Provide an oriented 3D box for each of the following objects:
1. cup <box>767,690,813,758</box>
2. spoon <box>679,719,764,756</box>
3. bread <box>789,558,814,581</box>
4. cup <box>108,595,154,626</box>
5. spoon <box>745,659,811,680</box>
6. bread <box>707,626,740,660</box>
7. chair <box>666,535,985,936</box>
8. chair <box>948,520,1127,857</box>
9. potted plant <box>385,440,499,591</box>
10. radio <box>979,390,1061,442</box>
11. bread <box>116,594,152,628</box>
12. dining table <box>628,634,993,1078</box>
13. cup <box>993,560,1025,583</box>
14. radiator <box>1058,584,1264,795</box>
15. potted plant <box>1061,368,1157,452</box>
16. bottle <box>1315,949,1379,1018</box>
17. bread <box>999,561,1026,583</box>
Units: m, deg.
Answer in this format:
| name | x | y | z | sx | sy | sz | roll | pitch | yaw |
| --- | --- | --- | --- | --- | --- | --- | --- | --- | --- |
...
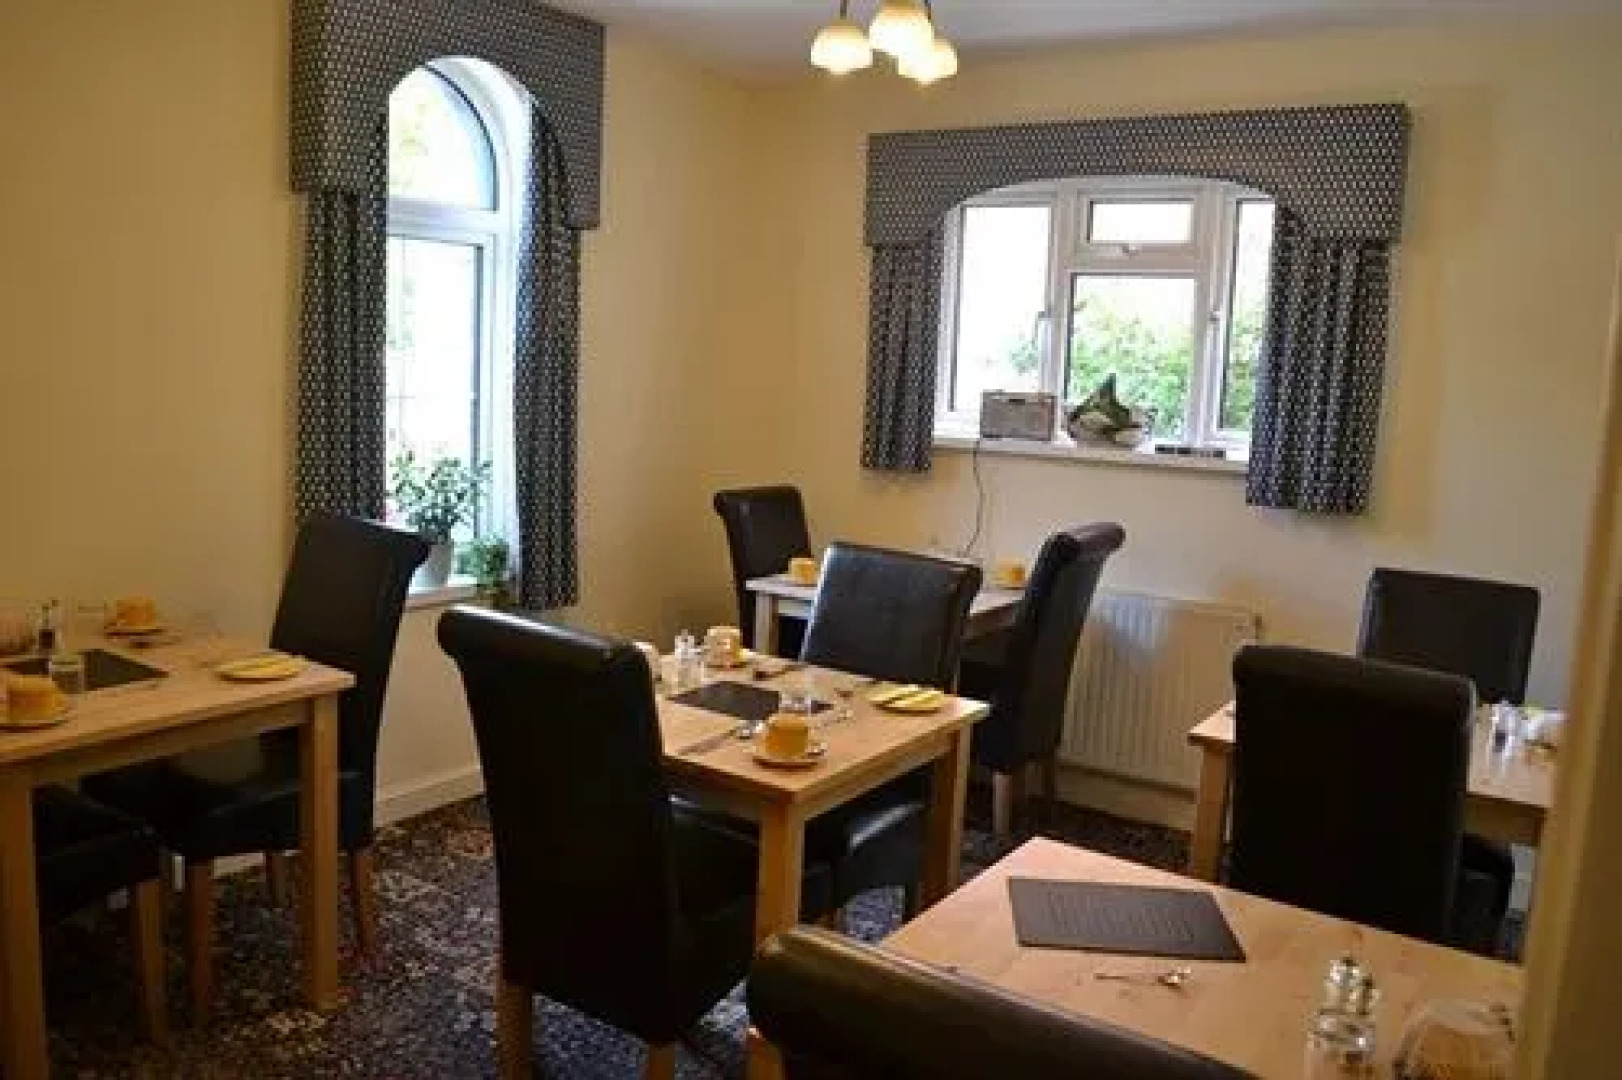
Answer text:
| name | x | y | z | sx | sy | sz | roll | pitch | yaw |
| --- | --- | --- | --- | --- | --- | --- | --- | --- | --- |
| cup | -0.054 | 0.489 | 3.089 | 0.100 | 0.101 | 0.141 | 7 | 13 | 12 |
| spoon | -0.220 | 0.524 | 3.124 | 0.068 | 0.035 | 0.269 | 4 | 6 | 24 |
| bread | -0.026 | 0.132 | 4.923 | 0.088 | 0.083 | 0.087 | -16 | 24 | -37 |
| cup | -2.096 | 0.212 | 3.657 | 0.109 | 0.079 | 0.083 | -7 | 16 | -42 |
| spoon | -0.101 | 0.409 | 3.724 | 0.055 | 0.011 | 0.189 | 7 | 6 | 28 |
| bread | -0.274 | 0.335 | 3.736 | 0.104 | 0.077 | 0.077 | 2 | 5 | -16 |
| chair | 0.014 | 0.703 | 3.817 | 0.725 | 1.284 | 0.896 | 11 | 14 | 34 |
| chair | 0.726 | 0.524 | 4.771 | 0.797 | 1.147 | 0.629 | 6 | 6 | 29 |
| potted plant | -1.499 | -0.042 | 4.670 | 0.399 | 0.445 | 0.359 | 0 | -6 | -19 |
| radio | 0.904 | -0.531 | 5.126 | 0.328 | 0.204 | 0.117 | 5 | 9 | 7 |
| bread | -2.073 | 0.224 | 3.634 | 0.100 | 0.072 | 0.075 | -2 | 9 | -33 |
| dining table | -0.046 | 0.603 | 3.372 | 0.995 | 0.977 | 1.001 | 18 | 25 | 38 |
| cup | 0.863 | 0.128 | 5.021 | 0.087 | 0.063 | 0.087 | -1 | 15 | 0 |
| radiator | 1.559 | 0.621 | 4.990 | 0.840 | 0.796 | 0.071 | 9 | -24 | -17 |
| potted plant | 1.263 | -0.545 | 5.071 | 0.361 | 0.327 | 0.206 | 9 | 23 | 18 |
| bottle | 1.020 | 0.847 | 2.254 | 0.078 | 0.141 | 0.106 | -12 | 16 | -42 |
| bread | 0.865 | 0.132 | 5.018 | 0.082 | 0.063 | 0.082 | 13 | 22 | 42 |
